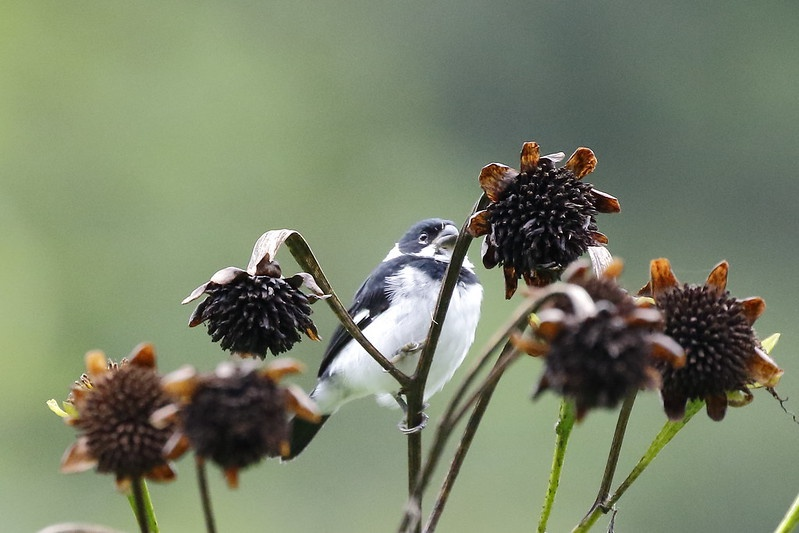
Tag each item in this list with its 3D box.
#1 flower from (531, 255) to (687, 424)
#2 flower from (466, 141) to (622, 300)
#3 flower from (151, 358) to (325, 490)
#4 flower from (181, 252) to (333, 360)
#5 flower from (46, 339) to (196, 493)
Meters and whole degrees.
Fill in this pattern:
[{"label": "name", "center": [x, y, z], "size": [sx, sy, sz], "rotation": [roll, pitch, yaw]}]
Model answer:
[{"label": "flower", "center": [0.349, 0.118, 1.348], "size": [0.204, 0.196, 0.208], "rotation": [7, 17, -46]}, {"label": "flower", "center": [0.217, -0.076, 1.561], "size": [0.225, 0.224, 0.229], "rotation": [8, -10, 39]}, {"label": "flower", "center": [-0.220, 0.192, 1.290], "size": [0.180, 0.097, 0.188], "rotation": [-17, 41, -23]}, {"label": "flower", "center": [-0.220, 0.061, 1.544], "size": [0.223, 0.153, 0.207], "rotation": [-6, -16, -2]}, {"label": "flower", "center": [-0.394, 0.215, 1.354], "size": [0.182, 0.196, 0.083], "rotation": [33, -2, 19]}]
